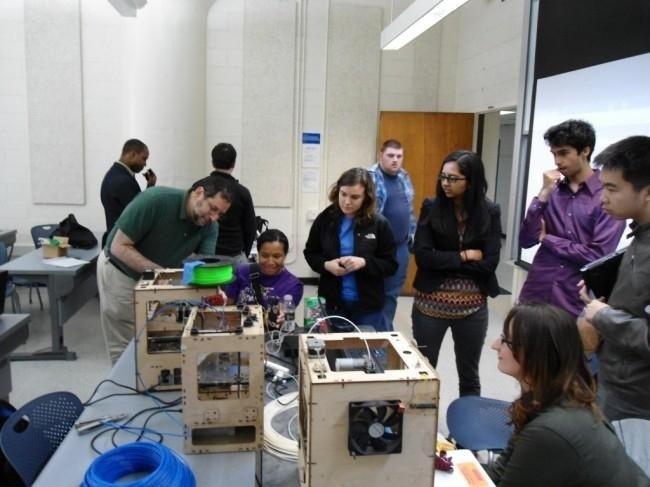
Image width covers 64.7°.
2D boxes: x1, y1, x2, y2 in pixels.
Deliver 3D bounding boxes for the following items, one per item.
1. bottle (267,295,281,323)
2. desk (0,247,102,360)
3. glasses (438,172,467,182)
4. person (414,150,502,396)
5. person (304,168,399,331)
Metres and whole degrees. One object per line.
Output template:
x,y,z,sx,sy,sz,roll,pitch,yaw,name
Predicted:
-0.292,0.364,2.896,0.072,0.133,0.116,-2,9,-5,bottle
-2.321,0.517,4.386,0.318,0.439,0.865,3,6,-4,desk
0.717,-0.376,2.905,0.154,0.060,0.076,3,10,22,glasses
0.782,0.328,3.109,0.504,1.722,0.425,1,13,6,person
0.159,0.049,3.252,0.589,1.033,0.364,-1,9,-2,person
